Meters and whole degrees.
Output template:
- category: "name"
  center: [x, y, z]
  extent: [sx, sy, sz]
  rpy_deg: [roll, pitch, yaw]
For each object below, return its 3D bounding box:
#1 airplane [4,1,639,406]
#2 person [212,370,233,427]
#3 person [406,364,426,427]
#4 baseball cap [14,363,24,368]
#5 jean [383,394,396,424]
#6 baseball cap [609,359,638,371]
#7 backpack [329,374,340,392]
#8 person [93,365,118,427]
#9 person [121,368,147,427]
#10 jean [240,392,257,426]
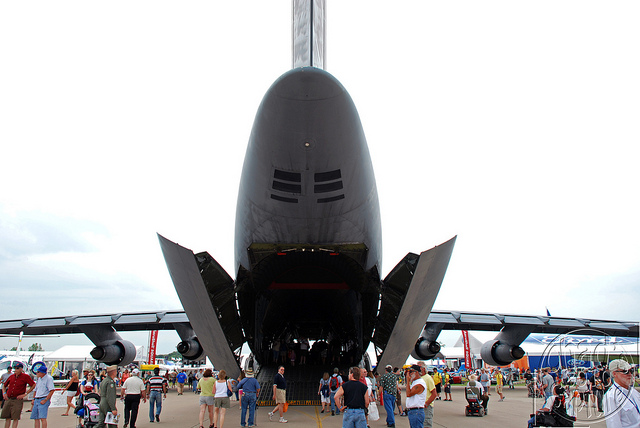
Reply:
- category: "airplane"
  center: [-0.487, -0.044, 16.646]
  extent: [8.826, 15.708, 14.688]
  rpy_deg: [1, -16, -2]
- category: "person"
  center: [-3.042, 5.693, 11.969]
  extent: [0.544, 1.685, 1.340]
  rpy_deg: [5, -16, -14]
- category: "person"
  center: [2.331, 4.456, 9.584]
  extent: [0.462, 1.229, 1.479]
  rpy_deg: [-2, -16, 12]
- category: "baseball cap"
  center: [-8.290, 4.201, 10.822]
  extent: [0.166, 0.091, 0.267]
  rpy_deg: [-7, -20, -1]
- category: "jean"
  center: [2.169, 6.106, 12.271]
  extent: [0.315, 0.833, 0.342]
  rpy_deg: [-2, -15, 8]
- category: "baseball cap"
  center: [5.041, 2.520, 6.544]
  extent: [0.297, 0.125, 0.203]
  rpy_deg: [-4, -13, 6]
- category: "backpack"
  center: [0.521, 6.496, 14.962]
  extent: [0.450, 0.658, 0.619]
  rpy_deg: [-1, -21, 8]
- category: "person"
  center: [-5.288, 4.554, 9.768]
  extent: [0.392, 1.420, 0.700]
  rpy_deg: [9, -17, -28]
- category: "person"
  center: [-5.523, 5.465, 11.534]
  extent: [0.640, 1.627, 1.122]
  rpy_deg: [8, -17, -25]
- category: "jean"
  center: [-2.192, 5.906, 11.879]
  extent: [0.433, 0.995, 0.498]
  rpy_deg: [3, -15, -9]
